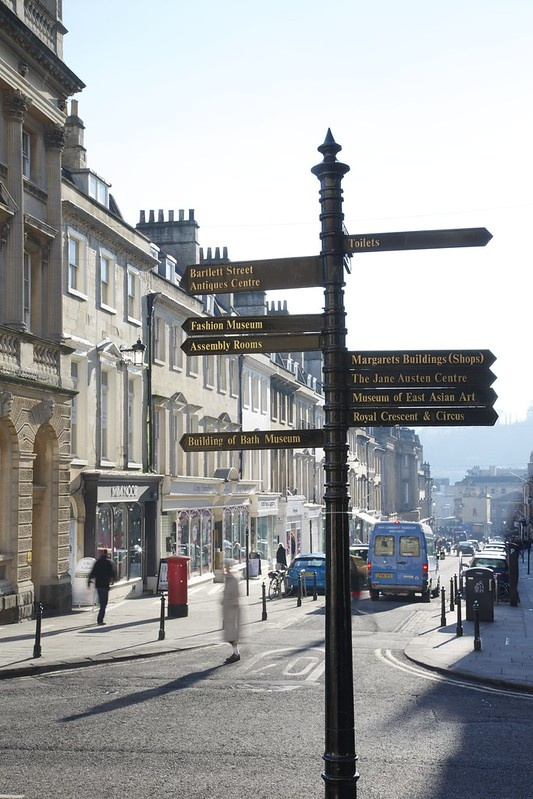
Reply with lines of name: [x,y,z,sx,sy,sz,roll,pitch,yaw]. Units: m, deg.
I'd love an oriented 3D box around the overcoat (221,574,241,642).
overcoat: [-0.523,3.103,20.205,0.297,1.027,0.437,0,-8,-1]

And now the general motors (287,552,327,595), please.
general motors: [0.965,4.401,33.888,1.171,1.246,2.356,0,-5,5]

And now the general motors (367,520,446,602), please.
general motors: [3.667,4.144,35.732,1.166,1.709,2.748,-1,-7,13]

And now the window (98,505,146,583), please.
window: [-3.431,3.329,32.448,0.177,1.923,2.625,-1,-4,22]

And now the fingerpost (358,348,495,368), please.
fingerpost: [1.254,-0.334,10.820,1.157,0.146,0.072,-1,-8,2]

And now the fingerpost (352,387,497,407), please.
fingerpost: [1.254,-0.018,10.772,1.162,0.152,0.090,-1,-9,3]

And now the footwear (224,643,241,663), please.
footwear: [-0.502,3.707,19.831,0.226,0.337,0.144,3,-16,0]

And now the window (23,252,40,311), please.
window: [-4.672,-2.199,26.959,0.084,1.307,0.608,-15,16,-19]

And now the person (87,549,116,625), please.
person: [-3.284,3.665,26.664,0.453,1.617,0.391,4,12,-8]

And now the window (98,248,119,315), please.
window: [-3.838,-2.889,32.193,0.099,1.283,0.945,0,6,-19]
